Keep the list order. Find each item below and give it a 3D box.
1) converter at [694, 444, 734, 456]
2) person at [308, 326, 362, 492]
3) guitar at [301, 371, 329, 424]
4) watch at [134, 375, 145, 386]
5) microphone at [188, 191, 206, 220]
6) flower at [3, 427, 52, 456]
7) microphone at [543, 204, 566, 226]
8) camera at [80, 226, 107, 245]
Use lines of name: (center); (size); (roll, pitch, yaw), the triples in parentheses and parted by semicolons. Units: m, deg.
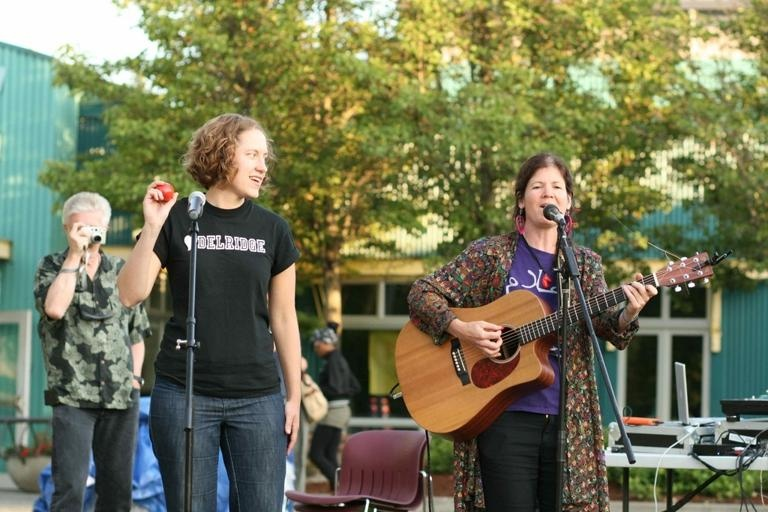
converter: (3.435, 2.019, 15.921); (0.422, 0.125, 0.033); (-2, -8, 4)
person: (-0.748, 1.968, 19.503); (0.738, 2.138, 0.862); (3, 4, 10)
guitar: (-0.870, 1.719, 18.515); (0.176, 0.563, 0.335); (-19, 14, 49)
watch: (-2.559, 1.305, 16.039); (0.080, 0.116, 0.062); (-2, 3, 44)
microphone: (-1.803, -0.479, 14.798); (0.166, 0.303, 0.158); (0, -9, -8)
flower: (-4.550, 2.441, 19.710); (0.410, 0.223, 0.408); (-3, 8, 18)
microphone: (1.696, -0.406, 15.164); (0.226, 0.218, 0.135); (-1, -8, 1)
camera: (-2.969, -0.223, 15.766); (0.253, 0.180, 0.152); (0, 4, -29)
